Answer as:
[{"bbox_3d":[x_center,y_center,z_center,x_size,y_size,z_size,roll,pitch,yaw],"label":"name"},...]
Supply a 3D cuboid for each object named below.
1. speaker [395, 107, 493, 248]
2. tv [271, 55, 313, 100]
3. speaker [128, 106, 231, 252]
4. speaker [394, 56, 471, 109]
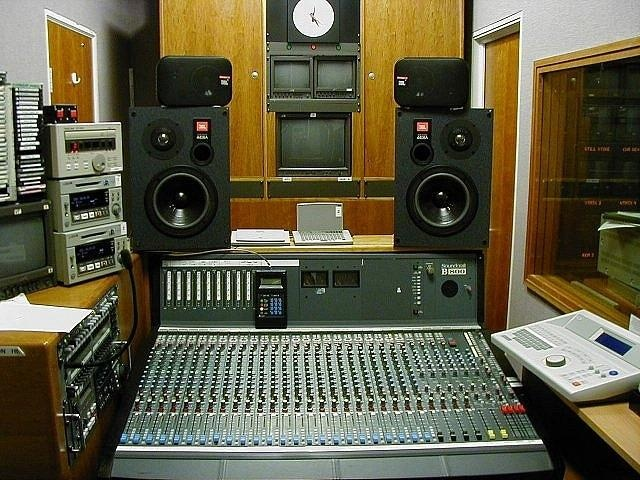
[{"bbox_3d":[0.606,-0.382,2.655,0.447,0.701,0.399,1,31,12],"label":"speaker"},{"bbox_3d":[-0.188,-1.103,3.797,0.337,0.368,0.209,1,-2,8],"label":"tv"},{"bbox_3d":[-0.672,-0.228,2.629,0.435,0.719,0.369,-1,-18,-14],"label":"speaker"},{"bbox_3d":[0.532,-0.761,2.560,0.327,0.249,0.212,2,24,14],"label":"speaker"}]
